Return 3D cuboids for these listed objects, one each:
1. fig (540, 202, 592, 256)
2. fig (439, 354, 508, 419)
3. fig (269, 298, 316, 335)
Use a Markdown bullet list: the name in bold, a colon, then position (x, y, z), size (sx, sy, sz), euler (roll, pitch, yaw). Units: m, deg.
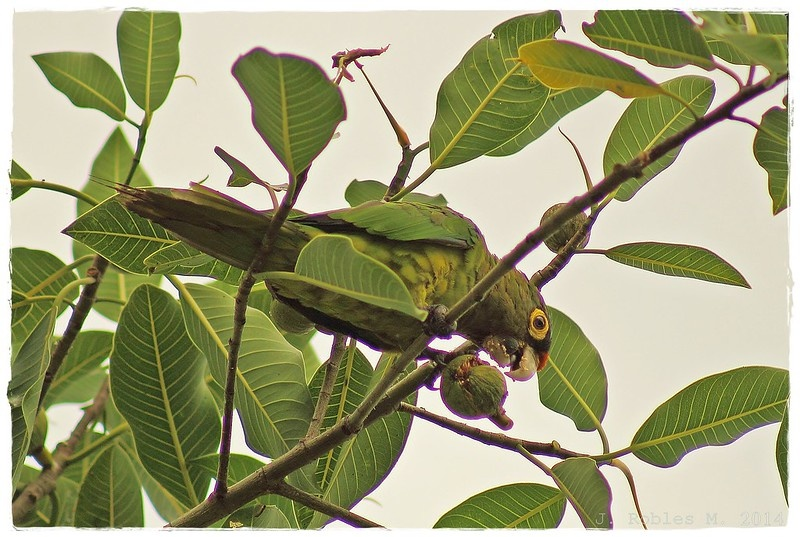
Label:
- **fig**: position (0.364, -0.088, 3.201), size (0.102, 0.091, 0.122), euler (7, -66, -13)
- **fig**: position (0.162, 0.265, 3.300), size (0.114, 0.148, 0.095), euler (-6, -54, -25)
- **fig**: position (-0.246, 0.115, 3.463), size (0.086, 0.078, 0.064), euler (35, -85, -7)
